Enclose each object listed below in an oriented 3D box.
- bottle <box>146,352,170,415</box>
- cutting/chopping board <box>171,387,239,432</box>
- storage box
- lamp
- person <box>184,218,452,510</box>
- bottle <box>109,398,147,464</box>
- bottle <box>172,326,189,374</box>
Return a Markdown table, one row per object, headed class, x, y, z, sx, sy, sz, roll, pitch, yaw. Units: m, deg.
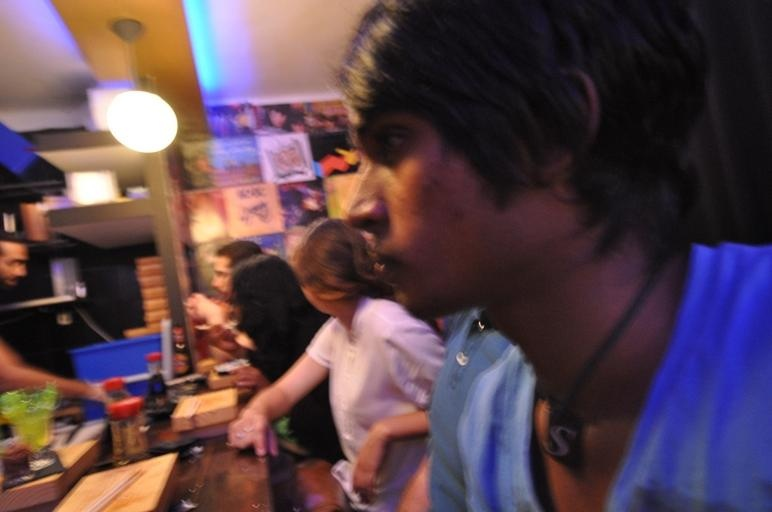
| class | x | y | z | sx | sy | sz | roll | pitch | yaw |
| --- | --- | --- | --- | --- | --- | --- | --- | --- | --- |
| bottle | -1.034 | 0.557 | 2.615 | 0.097 | 0.233 | 0.420 | -8 | 7 | -23 |
| cutting/chopping board | -0.712 | 0.634 | 2.383 | 0.272 | 0.076 | 0.294 | -13 | 6 | -20 |
| storage box | -1.327 | 0.584 | 2.871 | 0.387 | 0.248 | 0.390 | 3 | -11 | -40 |
| lamp | -1.186 | -0.794 | 2.829 | 0.321 | 0.590 | 0.407 | -7 | 7 | -20 |
| person | -0.303 | 0.449 | 2.758 | 1.012 | 1.621 | 0.871 | -3 | -5 | -13 |
| bottle | -0.958 | 0.655 | 2.119 | 0.117 | 0.207 | 0.123 | -9 | -9 | -2 |
| bottle | -1.025 | 0.489 | 2.897 | 0.093 | 0.228 | 0.089 | -7 | -12 | -2 |
